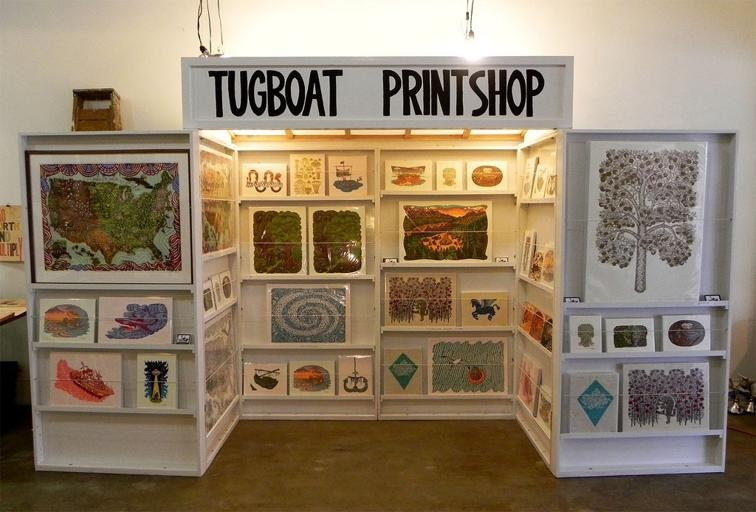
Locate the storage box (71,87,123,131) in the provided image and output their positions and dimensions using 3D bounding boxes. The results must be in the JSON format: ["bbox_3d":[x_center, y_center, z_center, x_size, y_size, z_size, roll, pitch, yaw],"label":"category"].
[{"bbox_3d":[-2.741,-1.389,5.856,0.442,0.372,0.442,-3,21,-32],"label":"storage box"}]
